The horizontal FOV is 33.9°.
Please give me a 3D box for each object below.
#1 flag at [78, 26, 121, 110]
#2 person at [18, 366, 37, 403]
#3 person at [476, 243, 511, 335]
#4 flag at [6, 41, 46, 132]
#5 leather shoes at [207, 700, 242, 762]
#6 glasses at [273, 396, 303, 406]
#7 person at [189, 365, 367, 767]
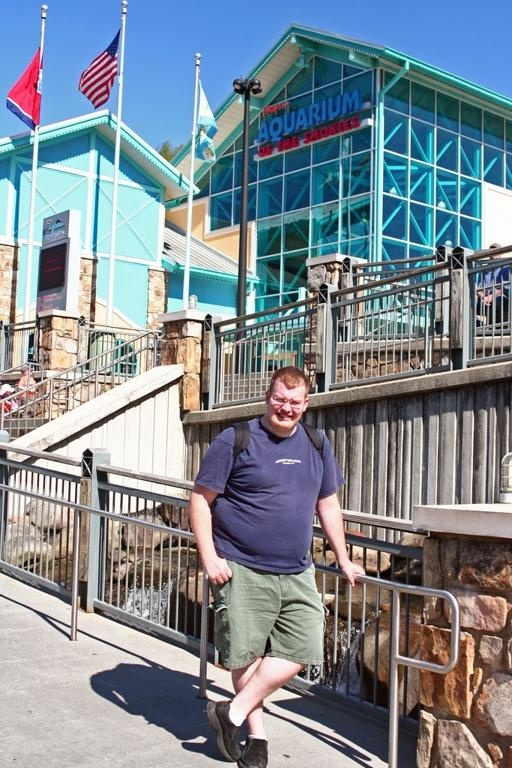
[{"bbox_3d":[-4.021,-8.140,21.880,0.619,1.962,1.240,2,-2,-44],"label":"flag"},{"bbox_3d":[-4.198,-0.006,15.421,0.304,0.722,2.402,2,-1,-16],"label":"person"},{"bbox_3d":[2.411,-0.944,8.540,0.335,0.793,2.275,1,-1,15],"label":"person"},{"bbox_3d":[-5.913,-7.660,21.533,0.766,2.222,0.692,2,-1,-21],"label":"flag"},{"bbox_3d":[-0.117,1.333,3.269,0.111,0.281,0.098,-11,3,6],"label":"leather shoes"},{"bbox_3d":[0.124,0.072,3.299,0.115,0.037,0.037,2,-1,4],"label":"glasses"},{"bbox_3d":[0.072,0.725,3.385,0.686,1.593,0.309,2,-1,-23],"label":"person"}]
